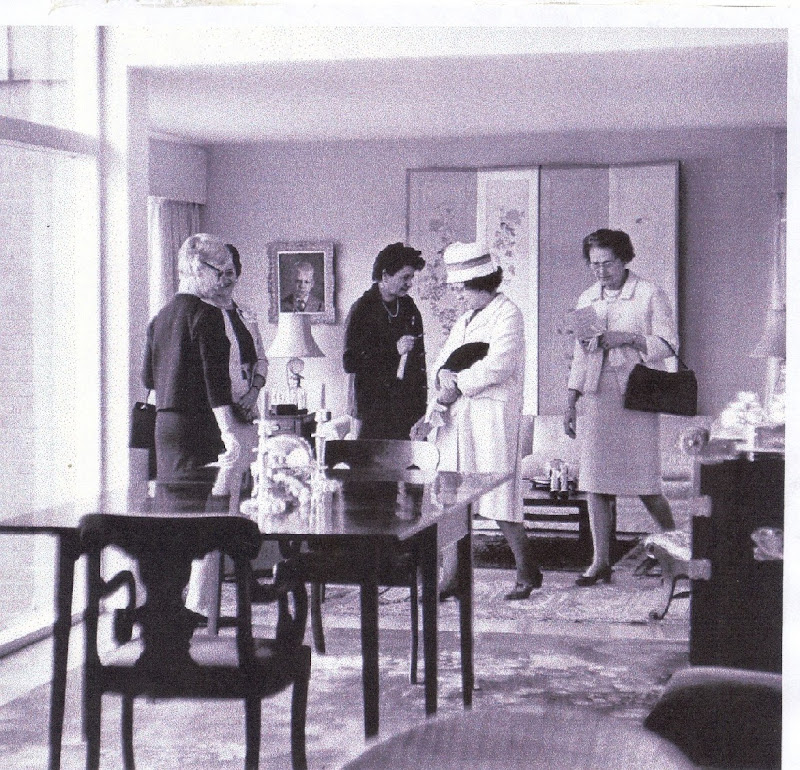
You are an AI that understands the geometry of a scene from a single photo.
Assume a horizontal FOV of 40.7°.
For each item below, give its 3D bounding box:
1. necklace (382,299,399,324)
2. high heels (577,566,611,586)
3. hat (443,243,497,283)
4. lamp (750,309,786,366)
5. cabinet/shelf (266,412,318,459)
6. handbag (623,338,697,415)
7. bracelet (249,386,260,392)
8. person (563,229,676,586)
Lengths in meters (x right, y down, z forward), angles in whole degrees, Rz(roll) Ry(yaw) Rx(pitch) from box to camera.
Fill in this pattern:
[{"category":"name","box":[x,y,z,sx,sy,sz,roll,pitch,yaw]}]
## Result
[{"category":"necklace","box":[-0.026,-0.220,3.243,0.035,0.075,0.016,0,0,5]},{"category":"high heels","box":[0.578,0.566,3.180,0.109,0.055,0.041,0,-2,17]},{"category":"hat","box":[0.208,-0.365,3.189,0.110,0.076,0.122,-12,0,-27]},{"category":"lamp","box":[1.043,-0.127,3.087,0.102,0.194,0.097,2,3,-2]},{"category":"cabinet/shelf","box":[-0.319,0.145,3.189,0.143,0.125,0.118,-1,2,-11]},{"category":"handbag","box":[0.760,0.013,3.134,0.215,0.157,0.030,0,2,32]},{"category":"bracelet","box":[-0.436,0.012,3.239,0.026,0.013,0.010,-4,-4,37]},{"category":"person","box":[0.655,0.073,3.142,0.305,1.037,0.089,0,2,13]}]
